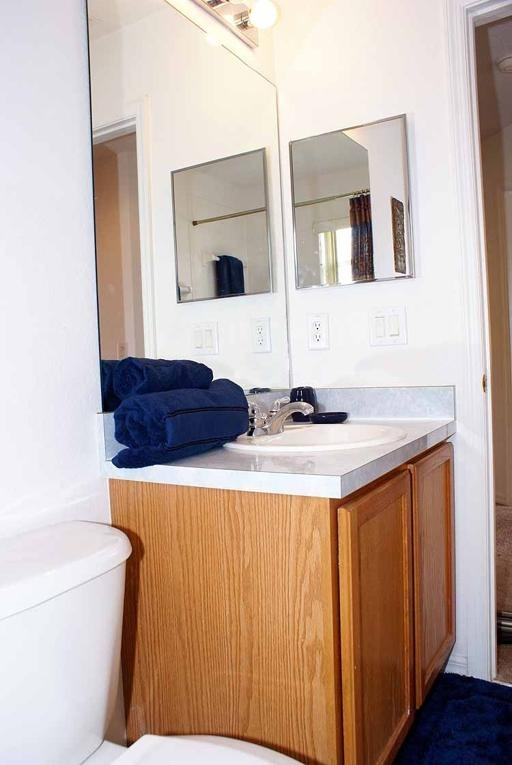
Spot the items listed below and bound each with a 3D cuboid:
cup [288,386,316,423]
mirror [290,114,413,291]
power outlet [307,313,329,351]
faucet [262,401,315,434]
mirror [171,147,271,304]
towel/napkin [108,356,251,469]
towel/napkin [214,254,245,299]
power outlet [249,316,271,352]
[{"bbox_3d":[0.143,0.069,1.814,0.094,0.154,0.088,1,-10,0],"label":"cup"},{"bbox_3d":[0.277,-0.501,1.795,0.347,0.461,0.018,-8,30,2],"label":"mirror"},{"bbox_3d":[0.182,-0.158,1.862,0.064,0.100,0.022,2,2,25],"label":"power outlet"},{"bbox_3d":[0.085,0.088,1.460,0.054,0.083,0.201,-5,-6,-34],"label":"faucet"},{"bbox_3d":[-0.103,-0.414,1.641,0.024,0.552,0.449,-2,2,34],"label":"mirror"},{"bbox_3d":[-0.186,0.055,1.166,0.219,0.104,0.227,-1,8,36],"label":"towel/napkin"},{"bbox_3d":[-0.074,-0.288,1.684,0.034,0.114,0.085,4,7,34],"label":"towel/napkin"},{"bbox_3d":[0.006,-0.139,1.780,0.017,0.168,0.093,3,5,38],"label":"power outlet"}]
